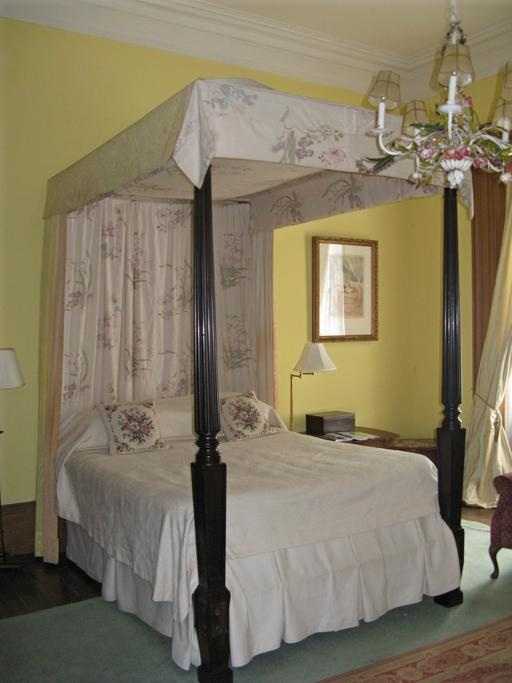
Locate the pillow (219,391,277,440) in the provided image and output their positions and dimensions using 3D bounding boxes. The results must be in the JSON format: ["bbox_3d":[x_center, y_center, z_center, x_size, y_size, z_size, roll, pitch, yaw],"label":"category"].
[{"bbox_3d":[-0.096,0.541,4.433,0.361,0.332,0.096,2,-30,-36],"label":"pillow"}]

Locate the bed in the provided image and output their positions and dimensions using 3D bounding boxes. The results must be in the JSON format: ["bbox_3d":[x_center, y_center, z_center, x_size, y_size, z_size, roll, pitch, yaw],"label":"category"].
[{"bbox_3d":[-0.037,1.054,3.461,1.694,0.768,1.682,0,-2,-33],"label":"bed"}]

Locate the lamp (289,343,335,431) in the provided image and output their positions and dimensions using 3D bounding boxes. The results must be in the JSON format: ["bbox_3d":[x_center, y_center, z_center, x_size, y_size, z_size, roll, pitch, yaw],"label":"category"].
[{"bbox_3d":[0.483,0.414,5.400,0.389,0.828,0.850,-1,-1,3],"label":"lamp"}]

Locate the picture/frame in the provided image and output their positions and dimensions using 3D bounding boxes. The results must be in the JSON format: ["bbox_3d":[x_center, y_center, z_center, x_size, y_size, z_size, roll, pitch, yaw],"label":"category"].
[{"bbox_3d":[0.860,-0.530,6.062,1.064,1.220,0.048,-6,9,-39],"label":"picture/frame"}]
